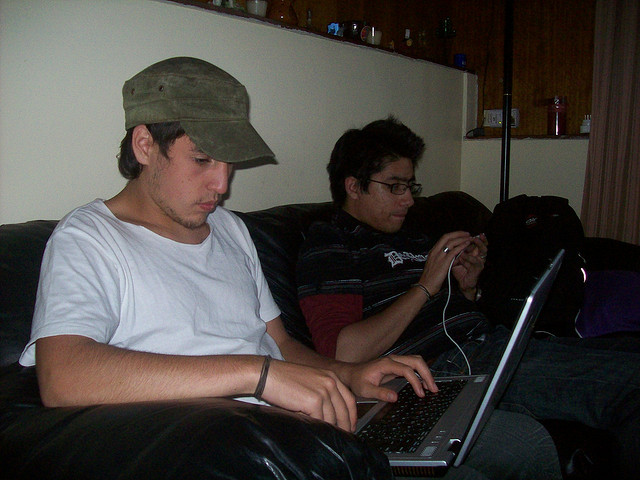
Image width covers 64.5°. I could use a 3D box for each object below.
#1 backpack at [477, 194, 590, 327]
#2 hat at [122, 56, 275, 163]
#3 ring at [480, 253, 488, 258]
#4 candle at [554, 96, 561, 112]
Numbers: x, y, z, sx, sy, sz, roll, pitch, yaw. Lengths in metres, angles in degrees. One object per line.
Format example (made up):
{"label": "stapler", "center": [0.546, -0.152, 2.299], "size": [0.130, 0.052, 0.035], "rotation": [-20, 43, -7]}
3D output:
{"label": "backpack", "center": [0.935, 0.062, 2.237], "size": [0.490, 0.698, 0.245], "rotation": [0, -20, 10]}
{"label": "hat", "center": [-0.346, -0.381, 1.457], "size": [0.479, 0.269, 0.339], "rotation": [9, 15, 24]}
{"label": "ring", "center": [0.630, 0.059, 1.957], "size": [0.021, 0.010, 0.025], "rotation": [-4, -6, 6]}
{"label": "candle", "center": [1.736, -0.989, 3.701], "size": [0.047, 0.102, 0.059], "rotation": [4, 15, 23]}
